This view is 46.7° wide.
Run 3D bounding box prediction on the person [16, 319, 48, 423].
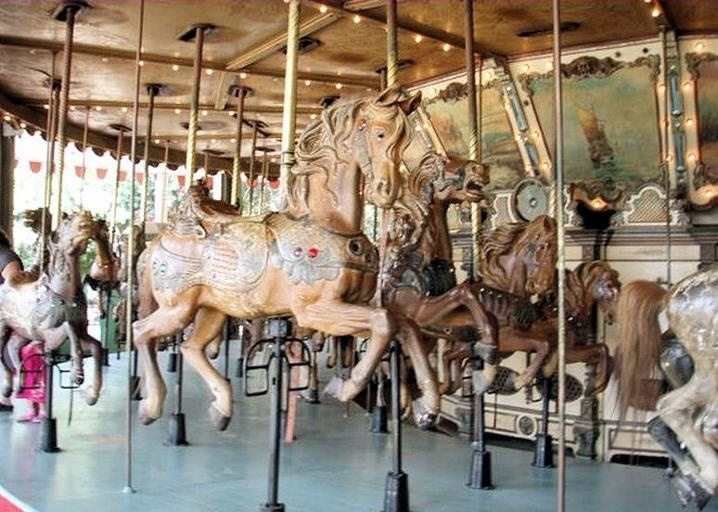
[{"bbox_3d":[-3.727,1.422,9.499,0.302,0.952,0.756,4,-3,-20],"label":"person"}]
